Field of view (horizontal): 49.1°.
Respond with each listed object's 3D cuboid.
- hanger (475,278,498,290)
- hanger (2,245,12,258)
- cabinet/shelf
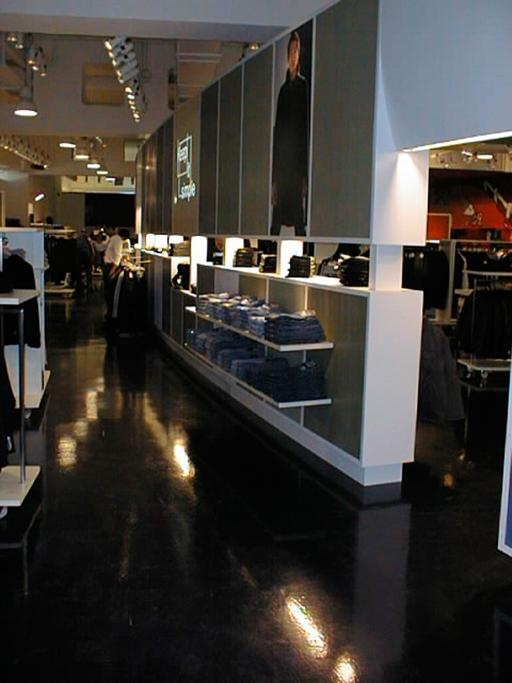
[{"bbox_3d":[2.859,-0.719,6.952,0.176,0.101,0.232,-1,2,-39],"label":"hanger"},{"bbox_3d":[-1.685,-0.607,3.797,0.030,0.068,0.390,0,4,-21],"label":"hanger"},{"bbox_3d":[-0.010,0.056,4.834,0.458,0.945,2.270,0,4,-17],"label":"cabinet/shelf"}]
